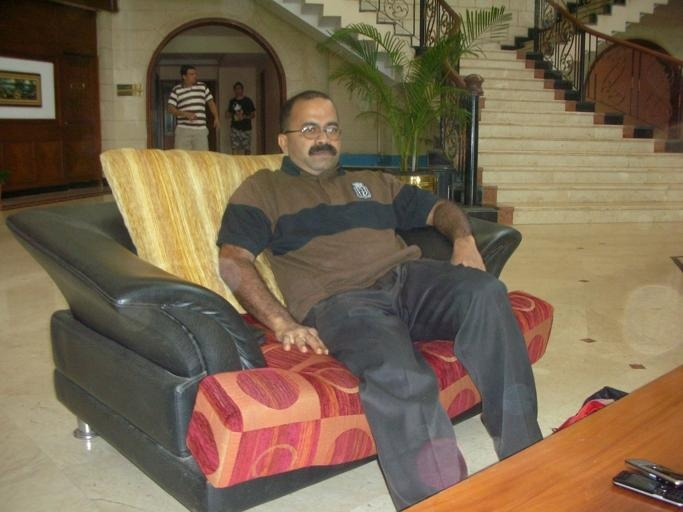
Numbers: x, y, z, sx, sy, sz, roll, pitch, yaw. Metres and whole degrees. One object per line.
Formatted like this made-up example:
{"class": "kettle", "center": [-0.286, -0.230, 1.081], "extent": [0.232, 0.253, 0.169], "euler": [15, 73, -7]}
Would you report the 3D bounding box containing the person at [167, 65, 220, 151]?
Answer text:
{"class": "person", "center": [-2.011, -1.965, 7.662], "extent": [0.610, 1.085, 0.420], "euler": [-7, 16, -16]}
